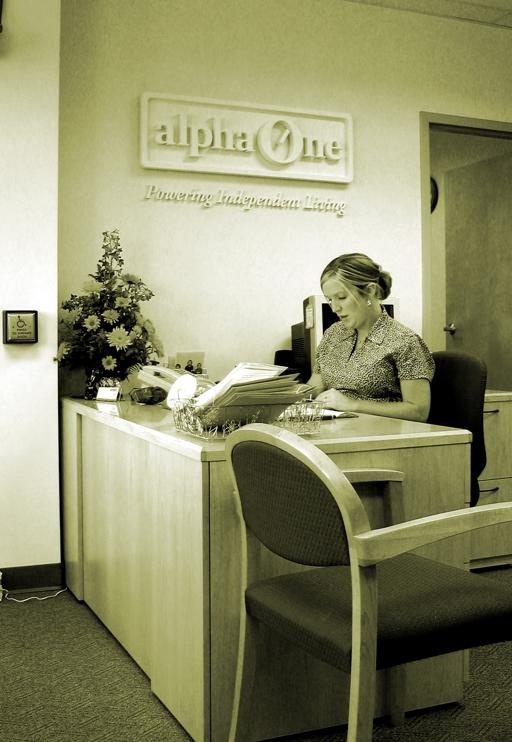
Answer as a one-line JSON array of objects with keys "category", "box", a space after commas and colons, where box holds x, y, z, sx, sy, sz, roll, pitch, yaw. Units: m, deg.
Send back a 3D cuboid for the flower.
[{"category": "flower", "box": [-0.631, -0.281, 2.750, 0.423, 0.773, 0.518, 0, -2, -14]}]
